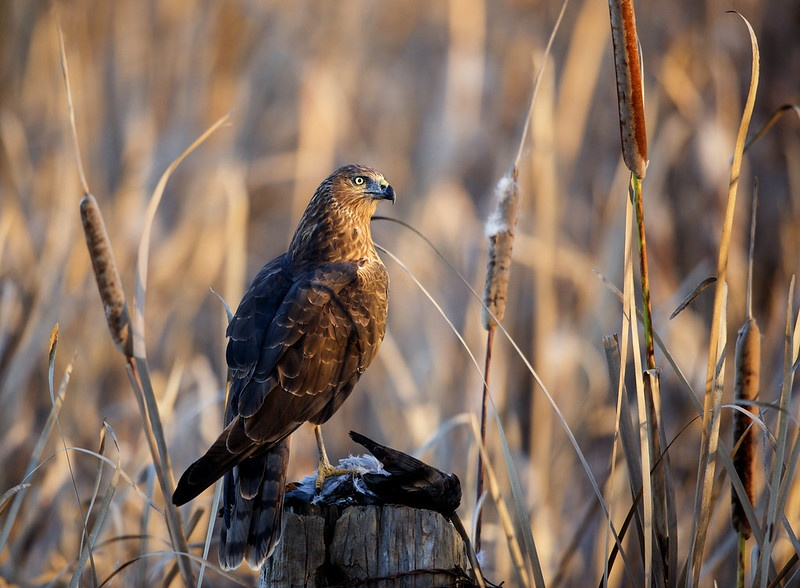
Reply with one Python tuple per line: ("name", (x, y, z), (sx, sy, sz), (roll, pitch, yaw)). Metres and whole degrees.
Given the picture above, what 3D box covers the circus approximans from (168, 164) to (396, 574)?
("circus approximans", (-0.700, 0.387, 9.934), (1.234, 2.815, 0.617), (1, -34, -2))
